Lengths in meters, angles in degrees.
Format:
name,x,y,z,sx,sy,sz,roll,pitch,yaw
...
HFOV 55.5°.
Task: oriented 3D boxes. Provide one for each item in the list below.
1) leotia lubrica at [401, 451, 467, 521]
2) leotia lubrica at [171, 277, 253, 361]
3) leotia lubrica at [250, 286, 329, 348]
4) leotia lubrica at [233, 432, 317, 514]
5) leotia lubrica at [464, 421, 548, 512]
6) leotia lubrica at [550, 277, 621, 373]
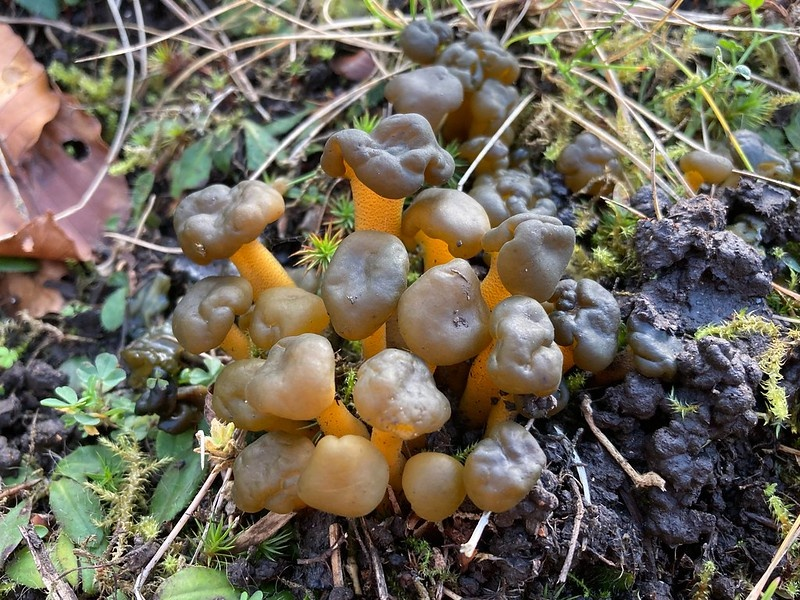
name,x,y,z,sx,sy,sz,roll,pitch,yaw
leotia lubrica,0.201,0.914,3.994,0.315,0.319,0.347,-23,87,8
leotia lubrica,-1.036,0.114,4.242,0.285,0.339,0.311,35,80,13
leotia lubrica,-0.642,0.024,4.183,0.397,0.456,0.198,33,112,39
leotia lubrica,-0.668,0.895,3.974,0.385,0.198,0.420,4,89,18
leotia lubrica,0.520,0.843,3.838,0.428,0.108,0.333,-39,80,-15
leotia lubrica,1.022,0.140,4.131,0.374,0.189,0.519,6,69,-4
